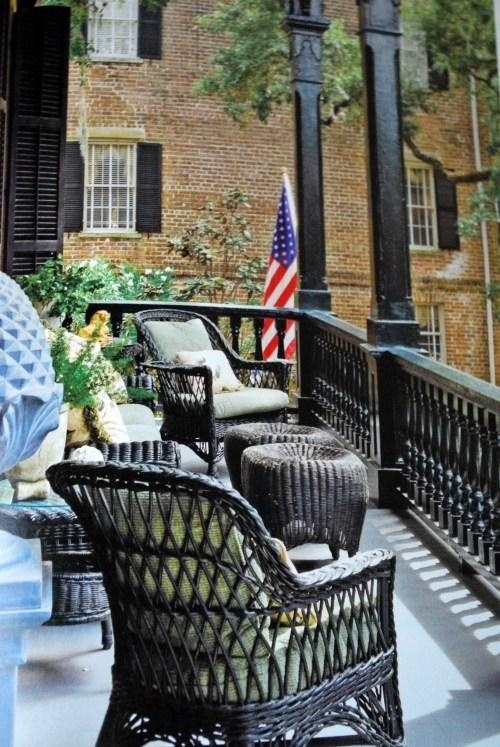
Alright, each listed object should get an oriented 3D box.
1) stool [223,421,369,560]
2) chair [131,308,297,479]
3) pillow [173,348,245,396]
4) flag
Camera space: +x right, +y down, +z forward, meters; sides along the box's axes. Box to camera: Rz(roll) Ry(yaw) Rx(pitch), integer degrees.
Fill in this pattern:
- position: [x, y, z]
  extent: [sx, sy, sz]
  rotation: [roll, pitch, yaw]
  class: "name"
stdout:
- position: [0.208, 0.385, 3.058]
  extent: [0.483, 0.500, 0.478]
  rotation: [0, 7, -24]
  class: "stool"
- position: [-0.209, 0.034, 4.616]
  extent: [0.763, 1.009, 0.881]
  rotation: [-3, 5, -42]
  class: "chair"
- position: [-0.239, -0.023, 4.567]
  extent: [0.229, 0.317, 0.401]
  rotation: [0, -1, 38]
  class: "pillow"
- position: [0.318, -0.853, 6.951]
  extent: [0.324, 1.892, 0.333]
  rotation: [-2, 5, -38]
  class: "flag"
